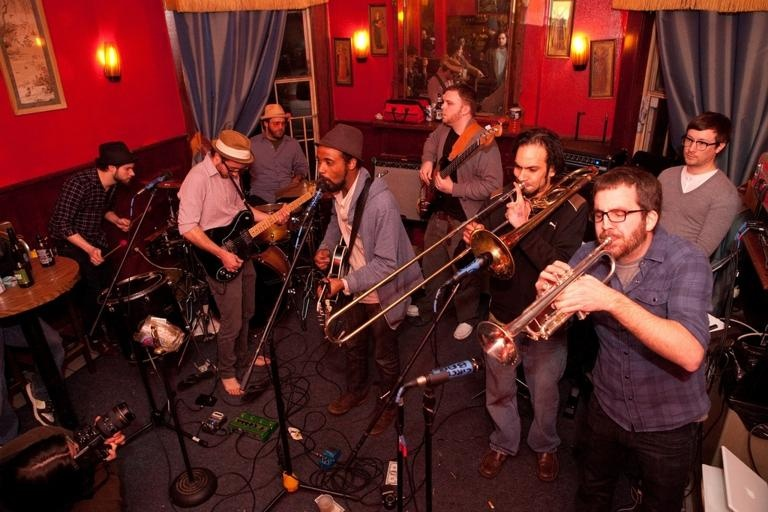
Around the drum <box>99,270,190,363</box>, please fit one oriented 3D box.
[{"bbox_3d":[-2.544,0.569,5.938,0.733,1.011,0.872,-6,26,-23],"label":"drum"}]

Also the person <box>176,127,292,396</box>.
[{"bbox_3d":[-1.555,-0.184,5.964,1.181,2.964,1.104,-9,27,-29],"label":"person"}]

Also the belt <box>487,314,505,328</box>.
[{"bbox_3d":[0.901,0.516,4.499,0.116,0.029,0.124,24,-1,39],"label":"belt"}]

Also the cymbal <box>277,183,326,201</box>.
[{"bbox_3d":[-0.959,-0.736,6.492,0.374,0.091,0.370,-6,37,19],"label":"cymbal"}]

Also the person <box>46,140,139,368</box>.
[{"bbox_3d":[-3.350,0.008,6.716,0.830,2.578,1.176,8,25,23],"label":"person"}]

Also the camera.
[{"bbox_3d":[-2.145,1.341,4.337,0.538,0.333,0.188,-39,18,-26],"label":"camera"}]

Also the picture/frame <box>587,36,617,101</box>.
[{"bbox_3d":[3.377,-2.891,8.741,0.380,0.903,0.605,6,23,21],"label":"picture/frame"}]

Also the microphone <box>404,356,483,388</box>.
[{"bbox_3d":[0.384,0.775,3.839,0.510,0.215,0.222,-4,21,-5],"label":"microphone"}]

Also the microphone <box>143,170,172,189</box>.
[{"bbox_3d":[-2.785,-0.928,6.883,0.409,0.115,0.256,-34,11,-34],"label":"microphone"}]

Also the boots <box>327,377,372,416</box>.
[{"bbox_3d":[-0.381,1.401,5.737,0.526,0.228,0.210,-29,49,-9],"label":"boots"}]

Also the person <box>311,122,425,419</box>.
[{"bbox_3d":[-0.133,0.120,5.569,1.147,2.736,1.154,-19,28,-34],"label":"person"}]
